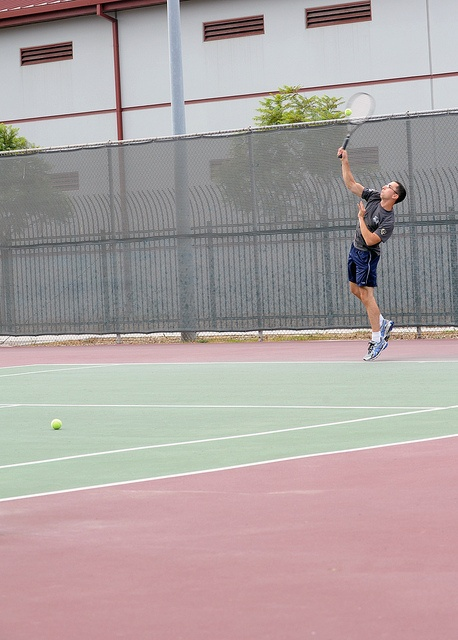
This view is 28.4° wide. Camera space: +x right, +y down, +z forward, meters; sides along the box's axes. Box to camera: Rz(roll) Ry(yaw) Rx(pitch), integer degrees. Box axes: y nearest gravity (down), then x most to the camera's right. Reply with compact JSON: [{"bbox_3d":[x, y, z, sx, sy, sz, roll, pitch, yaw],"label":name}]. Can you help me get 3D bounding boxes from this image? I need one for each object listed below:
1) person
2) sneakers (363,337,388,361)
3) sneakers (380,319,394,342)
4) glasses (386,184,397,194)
[{"bbox_3d":[1.443,-0.676,9.040,0.589,2.162,0.726,-4,3,2],"label":"person"},{"bbox_3d":[1.450,0.288,9.053,0.223,0.246,0.292,-4,3,1],"label":"sneakers"},{"bbox_3d":[1.567,0.118,9.040,0.132,0.273,0.101,18,53,19],"label":"sneakers"},{"bbox_3d":[1.552,-1.267,8.694,0.029,0.092,0.092,-5,-5,33],"label":"glasses"}]
